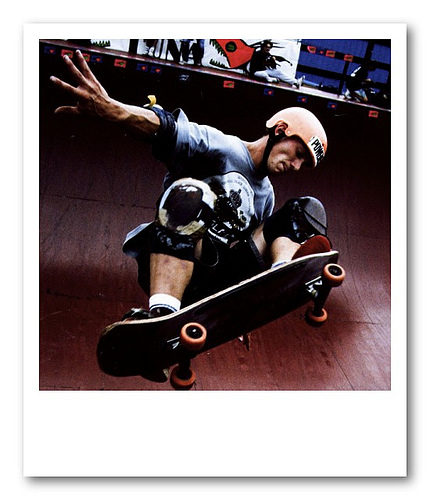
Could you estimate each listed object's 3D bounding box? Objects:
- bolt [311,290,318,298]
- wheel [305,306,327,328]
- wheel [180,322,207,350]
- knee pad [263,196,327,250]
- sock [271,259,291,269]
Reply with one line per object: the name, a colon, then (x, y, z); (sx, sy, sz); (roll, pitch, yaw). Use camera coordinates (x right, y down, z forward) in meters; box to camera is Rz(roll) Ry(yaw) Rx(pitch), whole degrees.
bolt: (0.486, 0.216, 2.363); (0.030, 0.036, 0.021); (15, 25, 3)
wheel: (0.492, 0.330, 2.376); (0.091, 0.051, 0.092); (0, 49, 0)
wheel: (-0.105, 0.411, 2.247); (0.121, 0.113, 0.107); (13, 24, -2)
knee pad: (0.434, -0.145, 2.380); (0.360, 0.188, 0.160); (-6, 19, 26)
sock: (0.320, 0.066, 2.389); (0.052, 0.019, 0.037); (-29, 17, 5)
